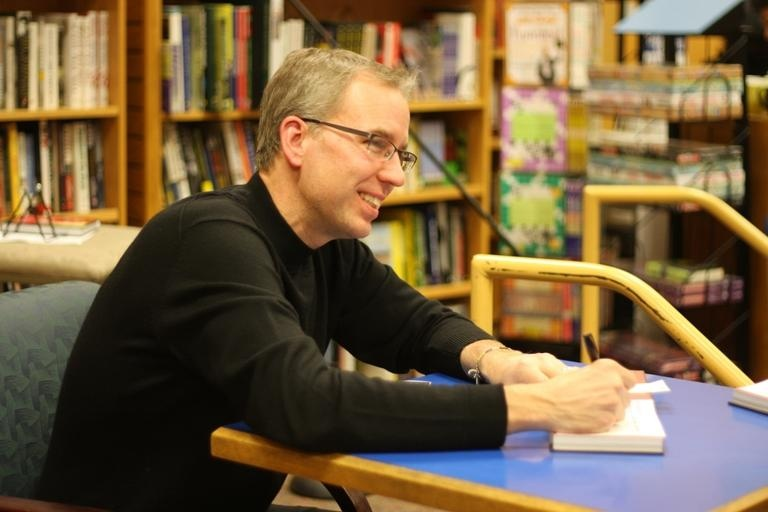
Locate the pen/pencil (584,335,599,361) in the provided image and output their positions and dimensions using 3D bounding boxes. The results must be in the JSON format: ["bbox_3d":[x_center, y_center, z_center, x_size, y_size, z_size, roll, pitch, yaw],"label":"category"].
[{"bbox_3d":[0.432,0.189,1.489,0.017,0.074,0.020,-15,-25,15],"label":"pen/pencil"}]

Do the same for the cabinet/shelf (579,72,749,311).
[{"bbox_3d":[1.287,-0.398,3.718,0.774,1.083,1.078,-7,10,-41],"label":"cabinet/shelf"}]
